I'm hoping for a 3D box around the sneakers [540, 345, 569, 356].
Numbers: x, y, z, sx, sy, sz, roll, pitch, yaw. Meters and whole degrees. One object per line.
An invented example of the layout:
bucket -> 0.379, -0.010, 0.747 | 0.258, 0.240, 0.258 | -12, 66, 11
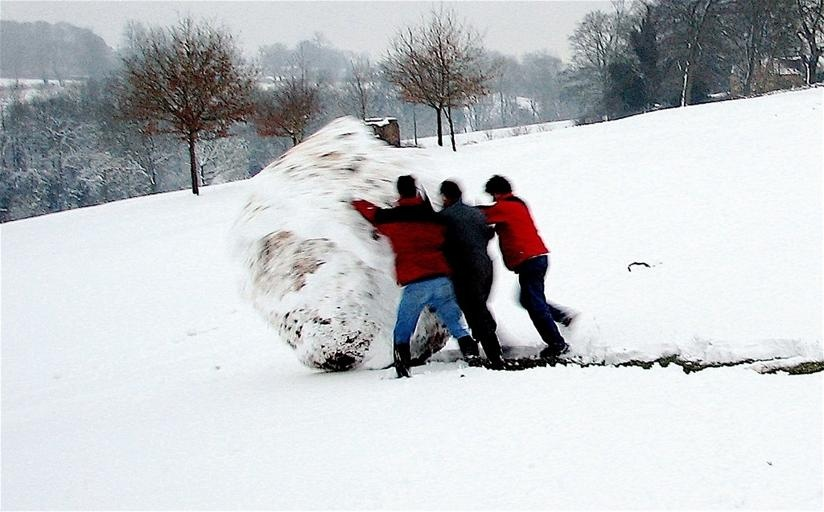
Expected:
sneakers -> 2.818, 1.882, 14.511 | 0.596, 0.256, 0.219 | -9, 1, -13
